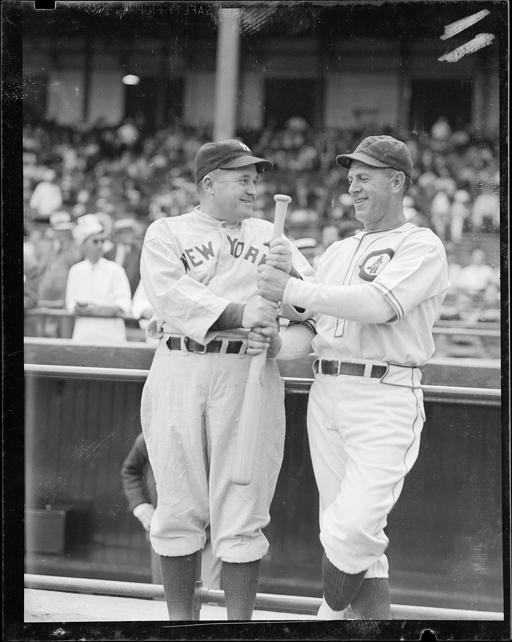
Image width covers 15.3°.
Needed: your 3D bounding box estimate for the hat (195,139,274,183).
[{"bbox_3d":[-0.120,-0.746,8.800,0.263,0.141,0.199,-6,5,11],"label":"hat"}]
